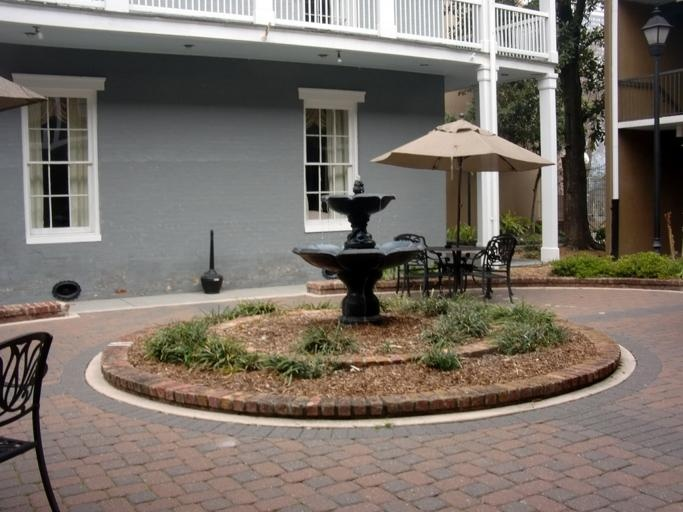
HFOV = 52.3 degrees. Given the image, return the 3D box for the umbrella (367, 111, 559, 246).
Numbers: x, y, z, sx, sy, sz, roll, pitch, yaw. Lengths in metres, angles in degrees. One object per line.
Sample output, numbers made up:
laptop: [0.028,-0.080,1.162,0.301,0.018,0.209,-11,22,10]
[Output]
umbrella: [1.840,-1.354,10.852,2.358,1.832,2.350,0,2,-5]

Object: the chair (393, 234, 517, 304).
chair: [1.964,0.181,11.535,1.533,0.730,1.558,-1,2,17]
